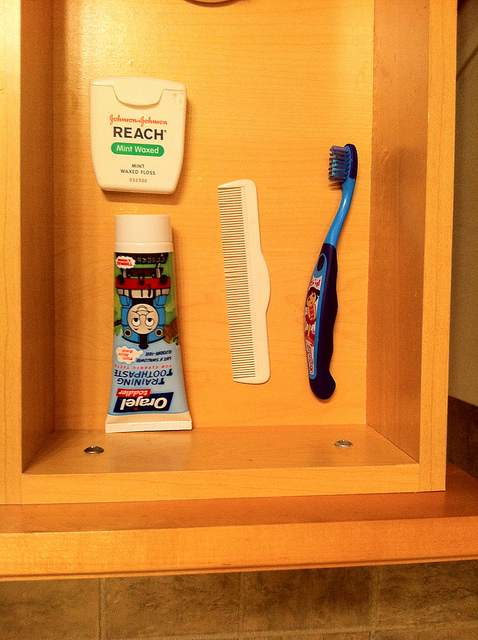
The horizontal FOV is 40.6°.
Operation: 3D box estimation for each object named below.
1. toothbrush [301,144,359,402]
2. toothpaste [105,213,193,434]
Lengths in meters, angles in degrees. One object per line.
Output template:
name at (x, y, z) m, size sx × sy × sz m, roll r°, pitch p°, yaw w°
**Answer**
toothbrush at (0.105, -0.052, 0.754) m, size 0.072 × 0.298 × 0.038 m, roll -10°, pitch 14°, yaw -43°
toothpaste at (-0.108, 0.013, 0.698) m, size 0.103 × 0.262 × 0.068 m, roll -1°, pitch 0°, yaw -10°
